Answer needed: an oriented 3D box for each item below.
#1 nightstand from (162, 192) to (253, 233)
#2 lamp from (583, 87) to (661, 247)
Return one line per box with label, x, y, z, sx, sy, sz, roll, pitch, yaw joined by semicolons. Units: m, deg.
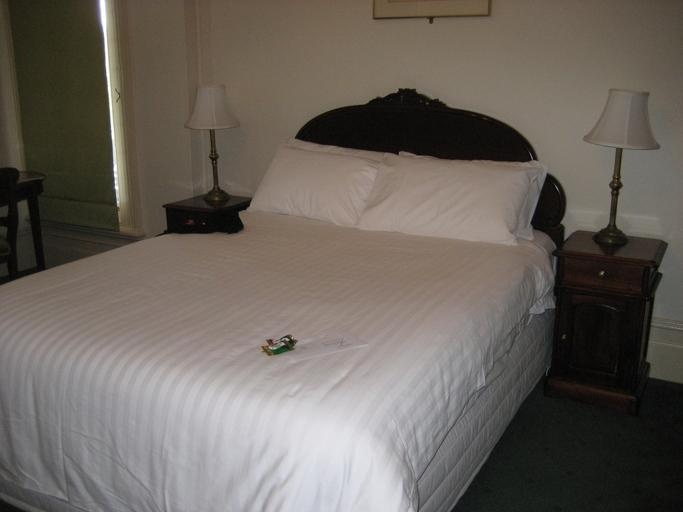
nightstand;-0.905;-0.258;3.593;0.394;0.260;0.409;9;16;33
lamp;1.558;-0.492;3.060;0.418;0.837;0.318;-5;16;-23
